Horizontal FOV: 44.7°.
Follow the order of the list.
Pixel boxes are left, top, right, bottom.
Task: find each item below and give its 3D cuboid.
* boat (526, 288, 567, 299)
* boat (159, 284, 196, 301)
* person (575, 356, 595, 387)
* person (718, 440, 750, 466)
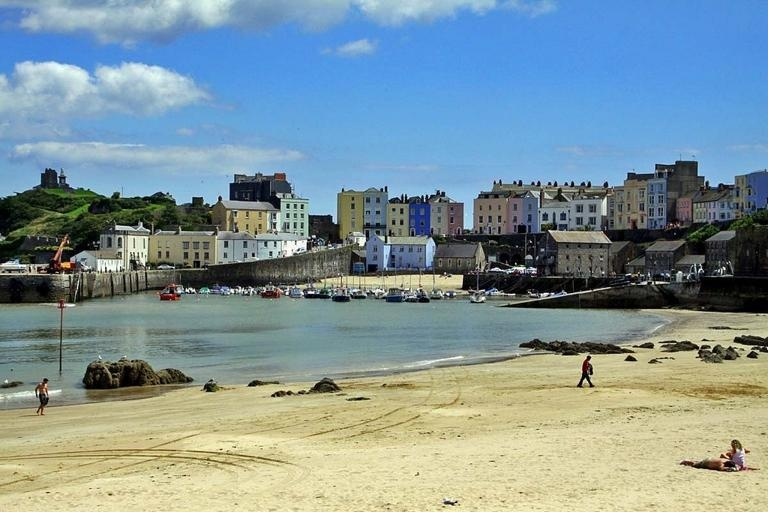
[{"bbox_3d":[16.229,3.666,94.403,3.318,0.827,6.564,0,-2,-9],"label":"boat"},{"bbox_3d":[-23.047,3.956,103.759,1.980,1.832,5.563,-1,-4,9],"label":"boat"},{"bbox_3d":[7.989,4.546,37.345,0.607,1.140,2.154,-1,-2,11],"label":"person"},{"bbox_3d":[10.230,5.735,27.372,0.646,0.748,1.108,-1,-2,26],"label":"person"}]
